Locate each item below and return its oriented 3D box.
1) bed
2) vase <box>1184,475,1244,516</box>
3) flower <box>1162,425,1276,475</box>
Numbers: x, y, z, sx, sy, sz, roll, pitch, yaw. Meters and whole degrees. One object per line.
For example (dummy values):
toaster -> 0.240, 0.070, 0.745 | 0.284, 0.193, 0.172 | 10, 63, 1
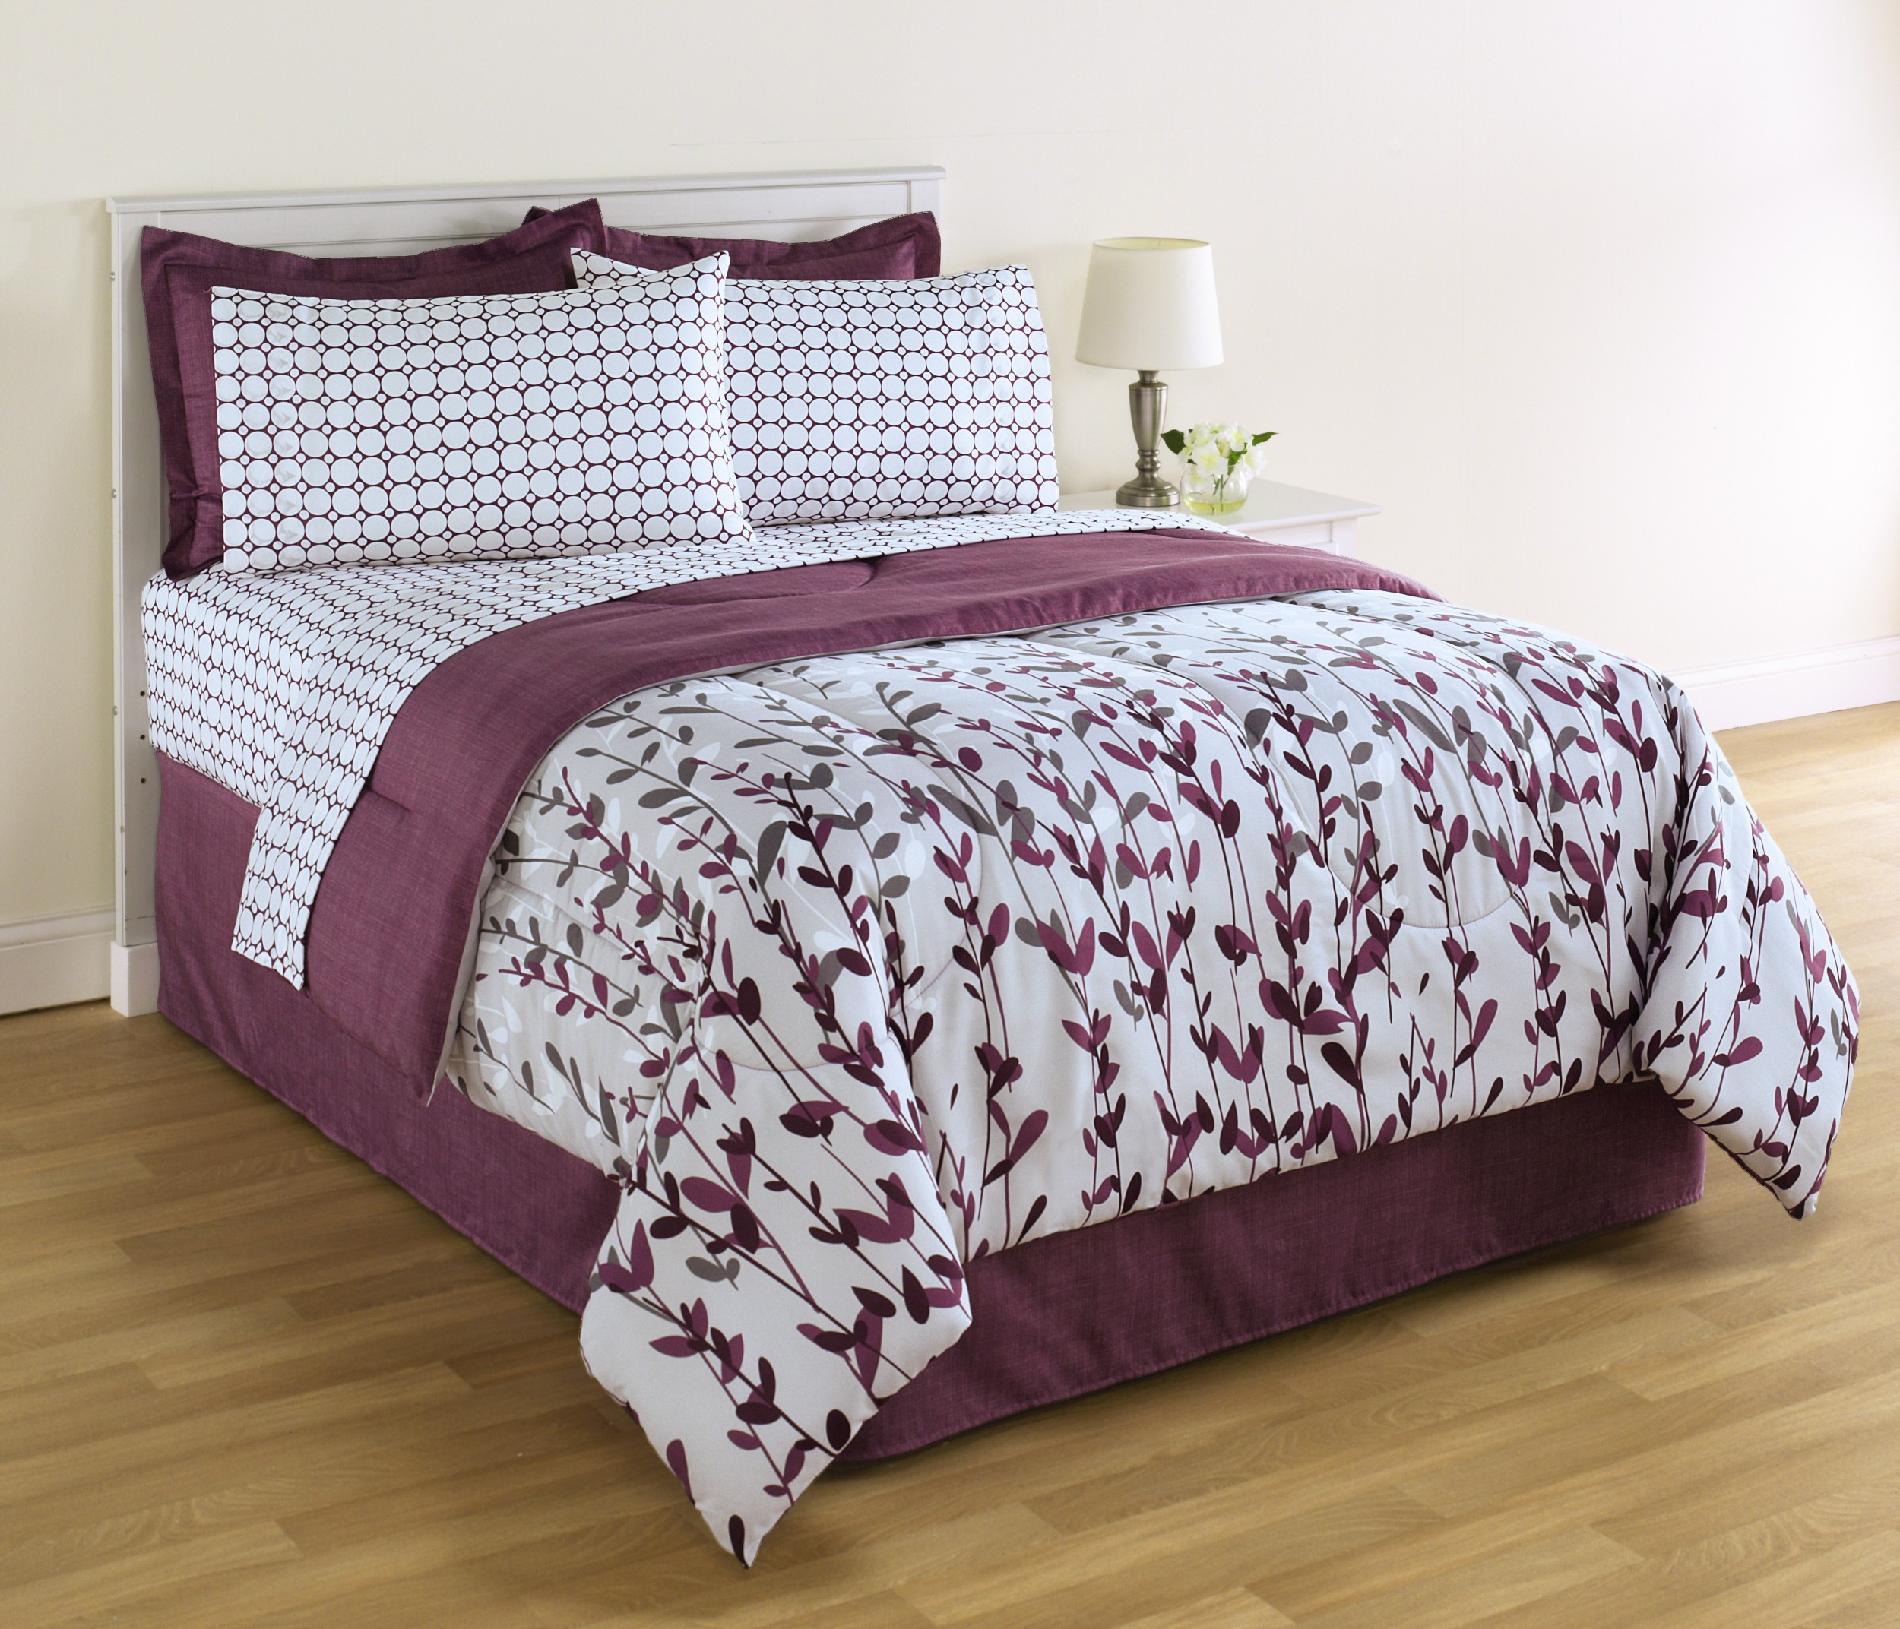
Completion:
bed -> -0.069, -0.200, 2.429 | 1.728, 1.148, 2.022 | -11, 24, -33
vase -> 0.559, -0.664, 3.495 | 0.130, 0.086, 0.120 | -11, 14, -44
flower -> 0.556, -0.757, 3.445 | 0.162, 0.062, 0.153 | 2, -3, -36
